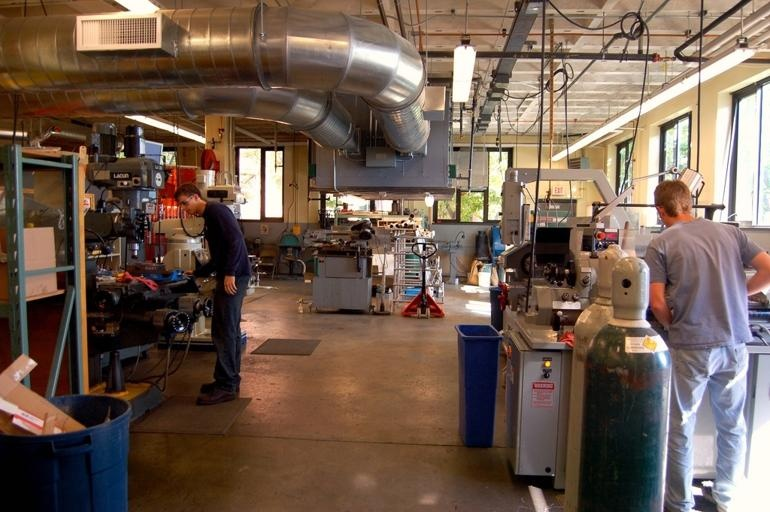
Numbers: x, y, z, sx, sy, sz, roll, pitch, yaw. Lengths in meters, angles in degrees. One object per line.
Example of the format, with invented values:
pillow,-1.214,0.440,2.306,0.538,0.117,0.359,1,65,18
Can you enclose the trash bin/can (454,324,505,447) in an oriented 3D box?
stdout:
trash bin/can,0.782,1.079,5.384,0.370,0.968,0.408,0,13,-8

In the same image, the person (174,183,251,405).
person,-1.511,0.439,5.961,0.518,1.837,0.510,-1,14,-13

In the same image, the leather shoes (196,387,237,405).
leather shoes,-1.575,1.309,5.967,0.334,0.138,0.151,5,-4,-26

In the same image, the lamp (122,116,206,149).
lamp,-4.099,-2.451,12.198,1.205,0.474,3.770,-2,14,-16
